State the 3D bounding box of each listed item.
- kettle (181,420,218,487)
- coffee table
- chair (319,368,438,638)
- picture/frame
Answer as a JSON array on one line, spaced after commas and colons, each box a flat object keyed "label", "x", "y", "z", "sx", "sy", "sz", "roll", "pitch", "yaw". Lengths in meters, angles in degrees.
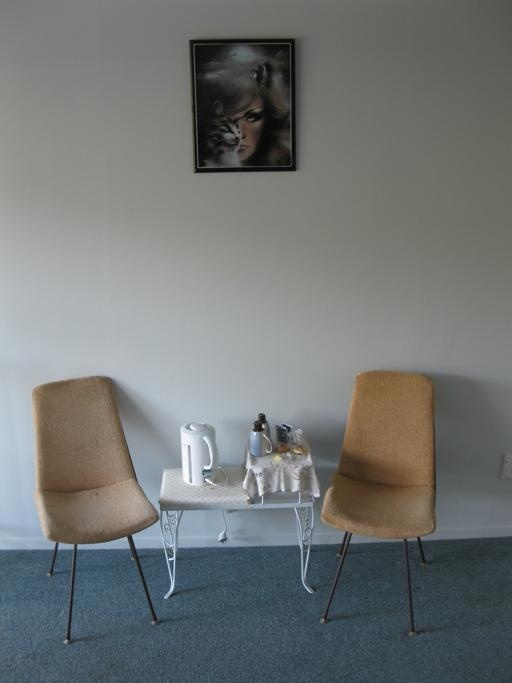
[{"label": "kettle", "x": -0.229, "y": 0.459, "z": 2.505, "sx": 0.134, "sy": 0.236, "sz": 0.168, "roll": -8, "pitch": 21, "yaw": -33}, {"label": "coffee table", "x": -0.080, "y": 0.801, "z": 2.580, "sx": 0.616, "sy": 0.357, "sz": 0.383, "roll": 1, "pitch": -3, "yaw": -11}, {"label": "chair", "x": 0.505, "y": 0.414, "z": 2.380, "sx": 0.404, "sy": 0.451, "sz": 0.577, "roll": 7, "pitch": 17, "yaw": 13}, {"label": "picture/frame", "x": -0.061, "y": -0.982, "z": 2.479, "sx": 0.557, "sy": 0.593, "sz": 0.024, "roll": -1, "pitch": 15, "yaw": -2}]
